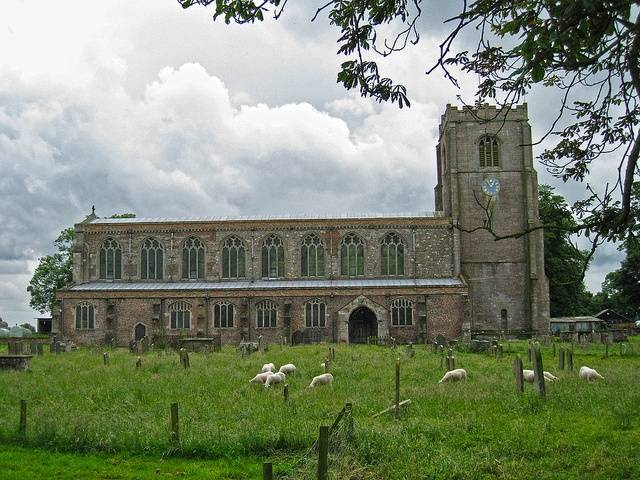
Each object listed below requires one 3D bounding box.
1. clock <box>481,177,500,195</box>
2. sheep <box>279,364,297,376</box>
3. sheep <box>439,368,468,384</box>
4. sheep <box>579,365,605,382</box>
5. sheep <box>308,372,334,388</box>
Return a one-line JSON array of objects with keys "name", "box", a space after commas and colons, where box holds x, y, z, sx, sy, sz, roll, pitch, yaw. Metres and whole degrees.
[{"name": "clock", "box": [13.542, -4.256, 59.405, 1.456, 1.512, 0.798, 0, -8, -7]}, {"name": "sheep", "box": [-1.553, 6.050, 35.006, 0.405, 0.425, 1.061, -5, -9, 25]}, {"name": "sheep", "box": [5.794, 5.906, 32.582, 1.525, 0.757, 0.495, -2, -13, -11]}, {"name": "sheep", "box": [11.551, 5.756, 32.477, 0.442, 0.662, 1.286, -1, -8, -28]}, {"name": "sheep", "box": [0.047, 6.065, 32.459, 1.394, 0.501, 0.857, 6, -11, -42]}]
